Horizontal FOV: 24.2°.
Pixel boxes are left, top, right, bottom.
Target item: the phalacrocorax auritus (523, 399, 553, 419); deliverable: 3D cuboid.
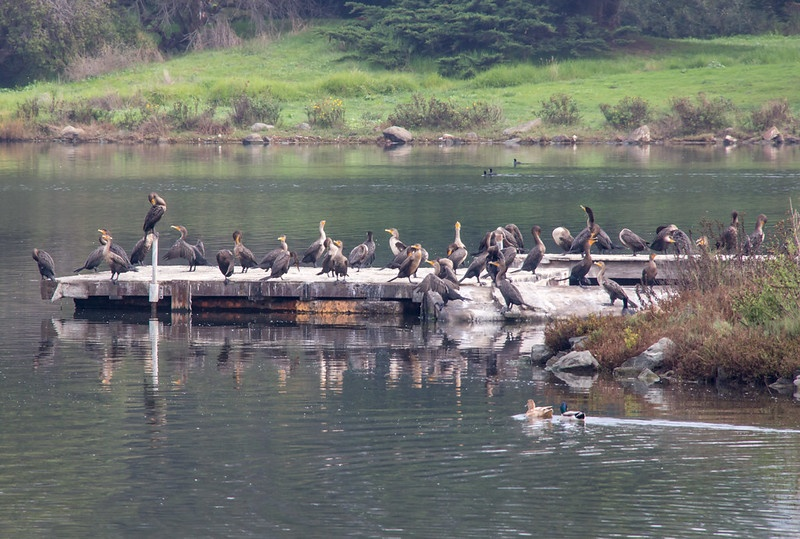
[{"bbox_3d":[4.663,4.706,62.907,0.904,0.569,0.494,-3,-8,30],"label":"phalacrocorax auritus"}]
